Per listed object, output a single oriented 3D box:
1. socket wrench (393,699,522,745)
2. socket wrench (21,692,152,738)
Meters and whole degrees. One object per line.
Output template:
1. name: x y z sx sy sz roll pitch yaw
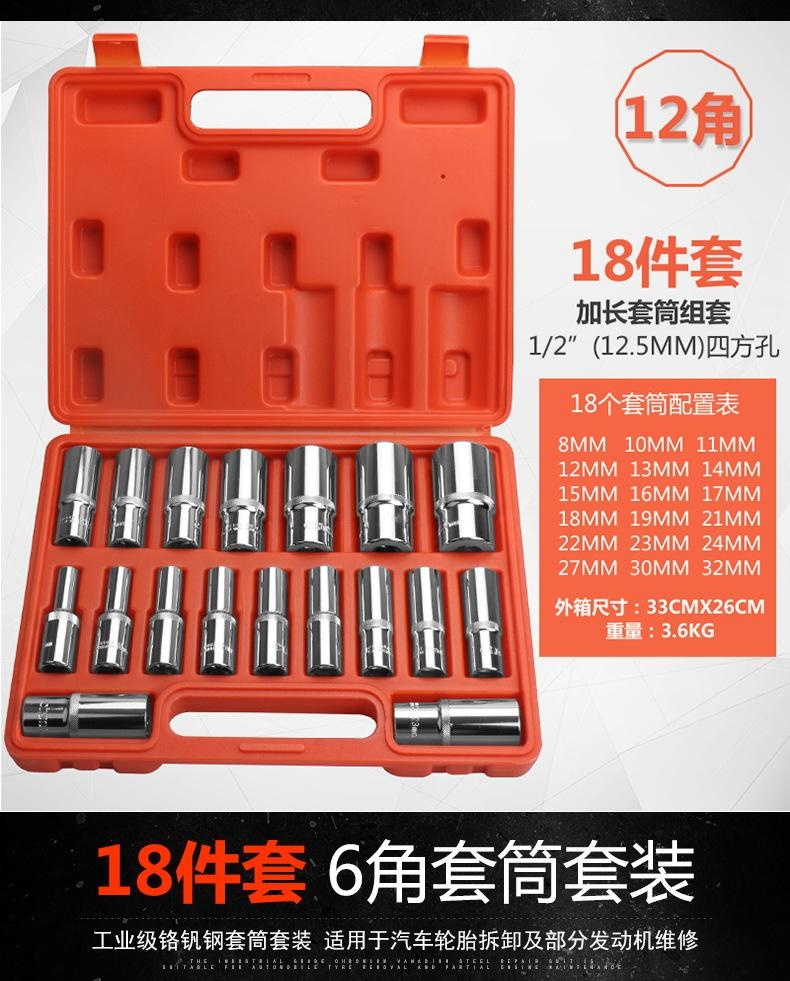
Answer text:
1. socket wrench: 0.102 0.384 1.452 0.232 0.077 0.082 -1 49 -3
2. socket wrench: -0.500 0.365 1.446 0.231 0.077 0.081 2 85 2
